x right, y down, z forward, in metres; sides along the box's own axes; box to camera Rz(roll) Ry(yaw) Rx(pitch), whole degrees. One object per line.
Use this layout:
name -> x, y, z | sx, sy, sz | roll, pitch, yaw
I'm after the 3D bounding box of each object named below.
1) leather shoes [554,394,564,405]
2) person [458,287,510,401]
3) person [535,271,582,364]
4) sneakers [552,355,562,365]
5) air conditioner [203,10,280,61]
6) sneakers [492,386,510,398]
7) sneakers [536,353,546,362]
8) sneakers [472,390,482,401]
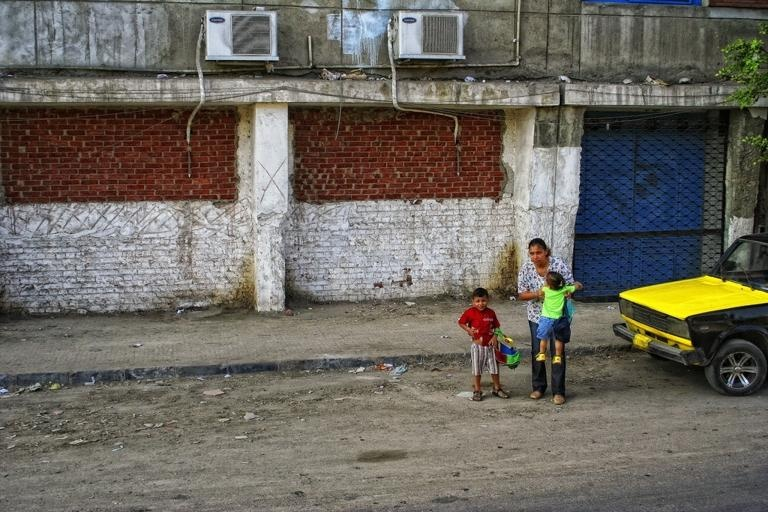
leather shoes -> 2.352, 1.943, 10.525 | 0.157, 0.113, 0.127 | -1, 7, 11
person -> 1.381, 1.166, 10.803 | 0.625, 1.576, 0.727 | -1, 7, 8
person -> 2.326, 0.803, 10.553 | 0.563, 1.267, 0.290 | -1, 7, 10
sneakers -> 2.305, 1.405, 10.509 | 0.123, 0.107, 0.117 | -1, -2, -1
air conditioner -> -2.330, -3.973, 13.768 | 1.365, 0.866, 0.756 | 5, 13, 11
sneakers -> 1.606, 1.889, 10.774 | 0.124, 0.089, 0.234 | -9, 9, -36
sneakers -> 2.107, 1.369, 10.535 | 0.083, 0.096, 0.146 | -1, -7, -1
sneakers -> 1.268, 1.927, 10.658 | 0.084, 0.076, 0.189 | 2, 11, 7
